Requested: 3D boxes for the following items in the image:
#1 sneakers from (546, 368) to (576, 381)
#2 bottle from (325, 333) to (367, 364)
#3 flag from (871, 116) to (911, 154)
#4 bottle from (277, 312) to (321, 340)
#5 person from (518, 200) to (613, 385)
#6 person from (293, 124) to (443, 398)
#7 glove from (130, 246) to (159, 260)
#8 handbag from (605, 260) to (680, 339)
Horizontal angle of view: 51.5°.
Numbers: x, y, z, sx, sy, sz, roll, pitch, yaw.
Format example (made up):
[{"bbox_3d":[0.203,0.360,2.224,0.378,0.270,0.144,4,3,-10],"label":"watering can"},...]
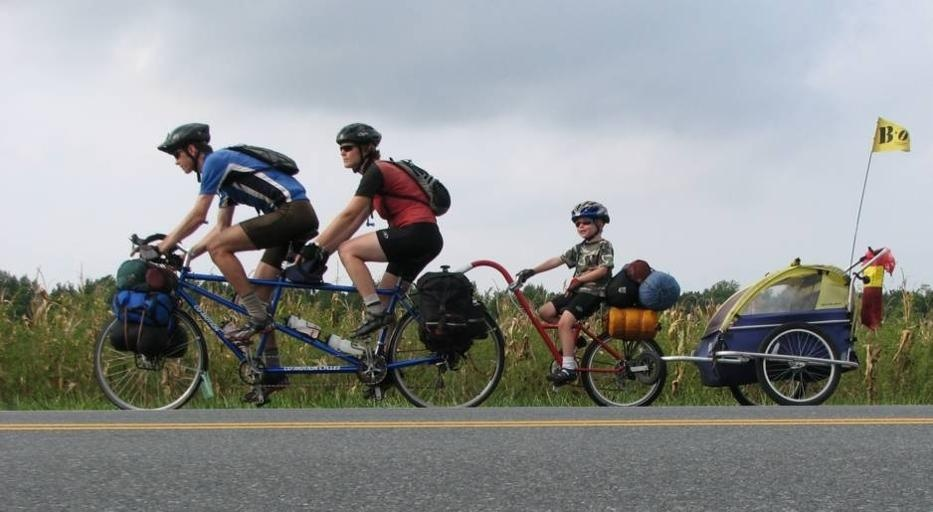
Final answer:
[{"bbox_3d":[1.213,1.541,12.503,0.379,0.163,0.147,6,-7,-11],"label":"sneakers"},{"bbox_3d":[-1.482,1.104,11.643,0.397,0.142,0.284,22,-2,-27],"label":"bottle"},{"bbox_3d":[6.065,-1.744,13.787,0.467,0.517,0.433,0,-8,18],"label":"flag"},{"bbox_3d":[-2.023,0.868,11.748,0.353,0.124,0.265,19,1,0],"label":"bottle"},{"bbox_3d":[1.387,0.487,12.700,0.966,2.405,0.423,2,-8,6],"label":"person"},{"bbox_3d":[-1.101,-0.093,11.492,1.623,2.097,0.545,5,-8,-15],"label":"person"},{"bbox_3d":[-3.348,-0.037,9.996,0.160,0.069,0.195,9,-9,-42],"label":"glove"},{"bbox_3d":[2.227,0.576,12.472,0.926,0.986,0.397,2,-8,6],"label":"handbag"}]
